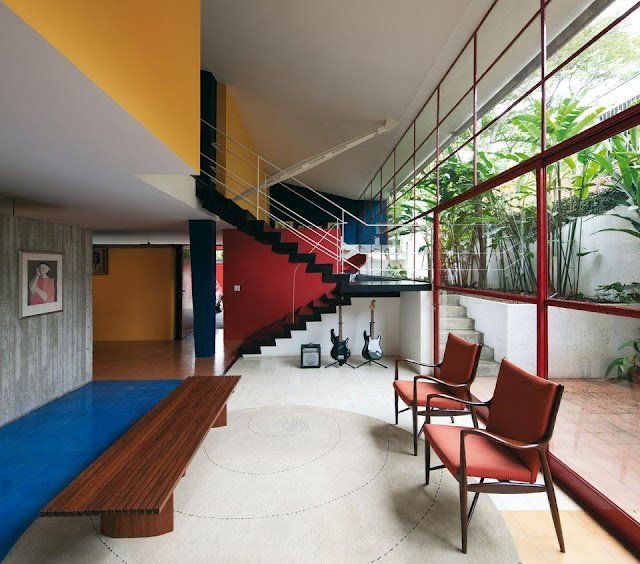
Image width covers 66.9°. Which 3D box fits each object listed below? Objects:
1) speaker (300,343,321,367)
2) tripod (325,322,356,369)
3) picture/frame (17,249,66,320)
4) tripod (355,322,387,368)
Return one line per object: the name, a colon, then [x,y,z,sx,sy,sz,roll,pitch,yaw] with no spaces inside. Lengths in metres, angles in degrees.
speaker: [-0.126,1.073,7.234,0.329,0.511,0.291,0,-5,-3]
tripod: [0.345,0.995,7.474,0.384,0.533,0.756,1,9,4]
picture/frame: [-3.171,0.021,5.536,0.927,0.767,0.047,-3,-2,31]
tripod: [0.818,0.931,7.361,0.381,0.677,0.743,1,9,6]
